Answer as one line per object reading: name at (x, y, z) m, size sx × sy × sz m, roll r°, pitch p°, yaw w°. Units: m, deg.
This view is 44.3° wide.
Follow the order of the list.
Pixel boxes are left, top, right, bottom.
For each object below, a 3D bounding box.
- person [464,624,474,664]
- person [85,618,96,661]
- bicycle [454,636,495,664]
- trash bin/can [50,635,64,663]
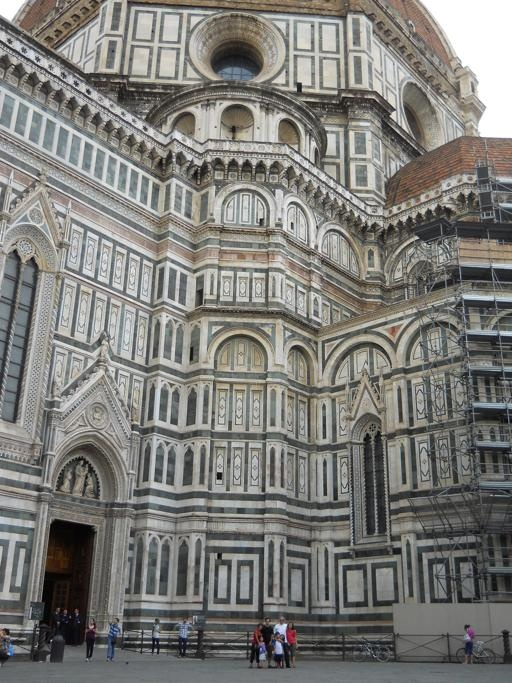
person at (5.212, 7.401, 15.419) m, size 0.239 × 0.837 × 1.199 m, roll -6°, pitch -24°, yaw 17°
person at (-3.760, 6.718, 14.179) m, size 0.177 × 0.806 × 0.654 m, roll 8°, pitch -24°, yaw -15°
bicycle at (5.563, 7.896, 16.037) m, size 0.955 × 0.611 × 0.488 m, roll -1°, pitch -34°, yaw 14°
trash bin/can at (-4.250, 6.546, 13.414) m, size 0.280 × 0.504 × 0.676 m, roll 8°, pitch -24°, yaw -14°
